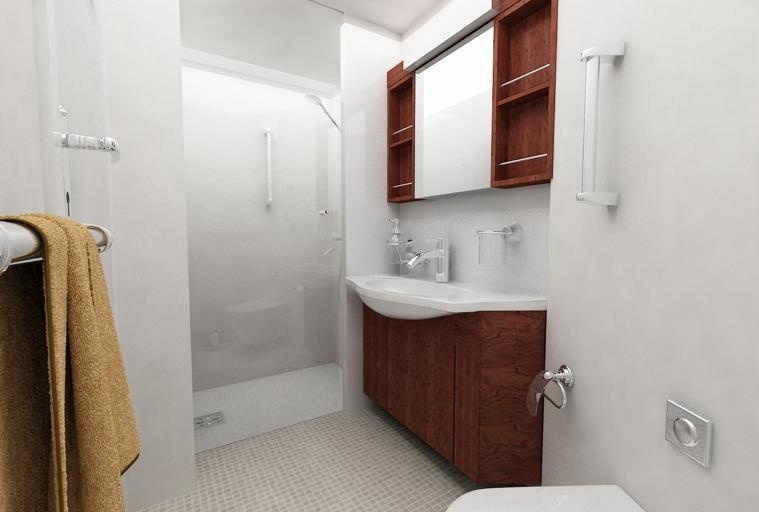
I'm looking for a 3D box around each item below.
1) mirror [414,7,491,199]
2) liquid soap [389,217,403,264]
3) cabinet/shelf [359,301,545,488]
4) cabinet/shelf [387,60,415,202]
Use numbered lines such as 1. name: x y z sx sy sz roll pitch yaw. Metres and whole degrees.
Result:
1. mirror: 0.377 -0.748 2.889 0.045 0.846 0.589 -6 10 -37
2. liquid soap: 0.101 -0.094 3.351 0.088 0.280 0.255 0 8 3
3. cabinet/shelf: 0.375 0.670 2.568 0.277 0.577 0.888 1 0 -22
4. cabinet/shelf: 0.154 -0.740 3.227 0.123 0.816 0.295 -4 9 -28
